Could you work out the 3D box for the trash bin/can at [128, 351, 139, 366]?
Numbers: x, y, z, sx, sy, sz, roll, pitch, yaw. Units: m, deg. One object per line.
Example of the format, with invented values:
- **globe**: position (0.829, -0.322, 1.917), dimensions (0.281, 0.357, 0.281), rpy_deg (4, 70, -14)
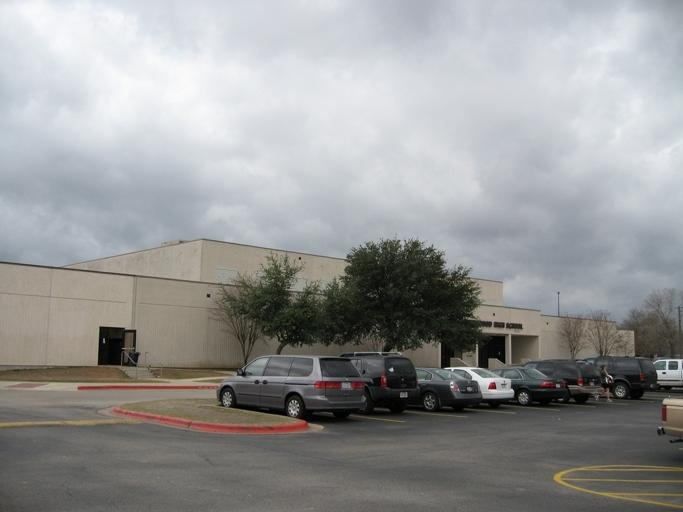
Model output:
- **trash bin/can**: position (-16.053, 7.917, 40.945), dimensions (0.954, 0.956, 1.707), rpy_deg (2, -6, -11)
